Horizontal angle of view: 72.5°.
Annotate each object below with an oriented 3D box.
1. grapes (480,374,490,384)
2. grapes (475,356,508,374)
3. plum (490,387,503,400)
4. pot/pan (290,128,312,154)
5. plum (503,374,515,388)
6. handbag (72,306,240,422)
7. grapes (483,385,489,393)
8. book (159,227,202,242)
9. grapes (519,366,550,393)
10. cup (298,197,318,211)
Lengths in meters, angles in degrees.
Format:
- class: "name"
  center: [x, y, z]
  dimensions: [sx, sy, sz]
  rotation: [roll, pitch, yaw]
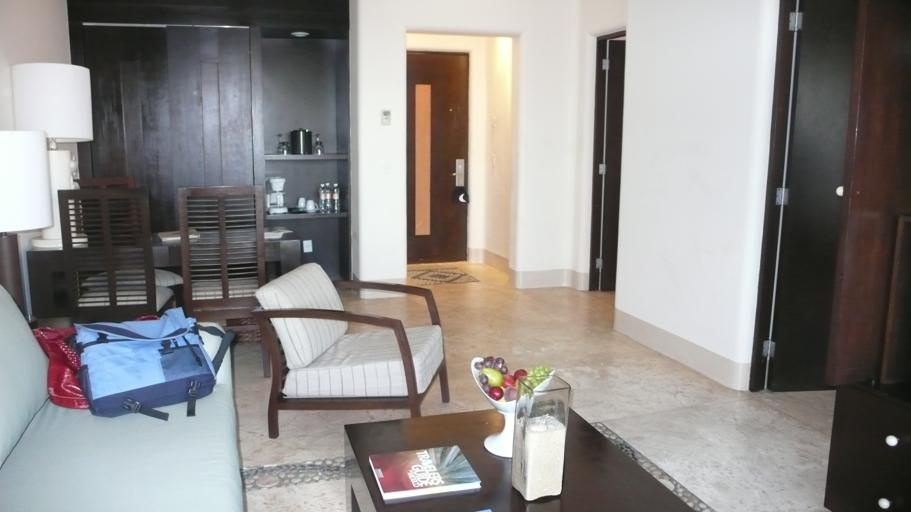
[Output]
- class: "grapes"
  center: [0.161, 0.705, 3.528]
  dimensions: [0.048, 0.034, 0.036]
  rotation: [30, 7, 23]
- class: "grapes"
  center: [0.210, 0.636, 3.646]
  dimensions: [0.156, 0.064, 0.111]
  rotation: [3, -3, 10]
- class: "plum"
  center: [0.228, 0.776, 3.488]
  dimensions: [0.074, 0.073, 0.068]
  rotation: [7, -1, 27]
- class: "pot/pan"
  center: [-1.840, -1.348, 7.361]
  dimensions: [0.305, 0.312, 0.301]
  rotation: [11, 16, 36]
- class: "plum"
  center: [0.302, 0.715, 3.535]
  dimensions: [0.076, 0.057, 0.065]
  rotation: [8, 17, 20]
- class: "handbag"
  center: [-1.814, 0.653, 3.797]
  dimensions: [0.712, 0.609, 0.248]
  rotation: [-10, -23, -34]
- class: "grapes"
  center: [0.172, 0.755, 3.526]
  dimensions: [0.038, 0.027, 0.042]
  rotation: [7, 10, 31]
- class: "book"
  center: [-2.571, -0.171, 5.661]
  dimensions: [0.307, 0.063, 0.273]
  rotation: [-4, 9, -33]
- class: "grapes"
  center: [0.424, 0.655, 3.309]
  dimensions: [0.121, 0.056, 0.141]
  rotation: [5, 12, 32]
- class: "cup"
  center: [-1.790, -0.608, 7.476]
  dimensions: [0.170, 0.115, 0.224]
  rotation: [0, -6, 0]
